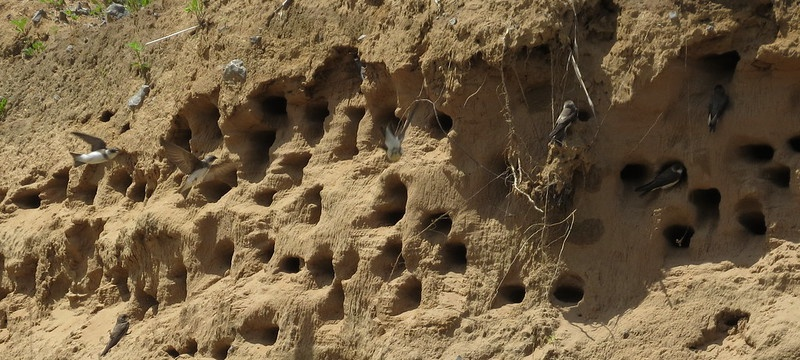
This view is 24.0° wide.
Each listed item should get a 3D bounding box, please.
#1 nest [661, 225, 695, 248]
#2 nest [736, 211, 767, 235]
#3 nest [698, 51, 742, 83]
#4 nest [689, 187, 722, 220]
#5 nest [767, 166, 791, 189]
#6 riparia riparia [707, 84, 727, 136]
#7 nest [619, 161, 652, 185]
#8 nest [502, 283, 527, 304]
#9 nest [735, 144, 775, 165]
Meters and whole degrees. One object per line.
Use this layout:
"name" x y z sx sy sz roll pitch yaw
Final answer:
"nest" 4.821 0.977 32.571 0.457 0.325 0.412 -25 31 -31
"nest" 6.059 0.728 32.290 0.428 0.403 0.456 4 6 28
"nest" 5.549 -1.894 32.483 0.628 0.530 0.212 -7 14 10
"nest" 5.307 0.418 32.647 0.470 0.503 0.574 8 -12 -31
"nest" 6.493 -0.024 32.180 0.326 0.359 0.405 -5 -4 -33
"riparia riparia" 5.529 -1.174 32.346 0.339 0.762 0.355 14 -8 28
"nest" 4.113 -0.068 32.911 0.569 0.419 0.438 5 4 5
"nest" 1.984 1.970 32.721 0.353 0.325 0.211 -17 15 -29
"nest" 6.107 -0.433 32.295 0.561 0.330 0.170 -7 14 9
